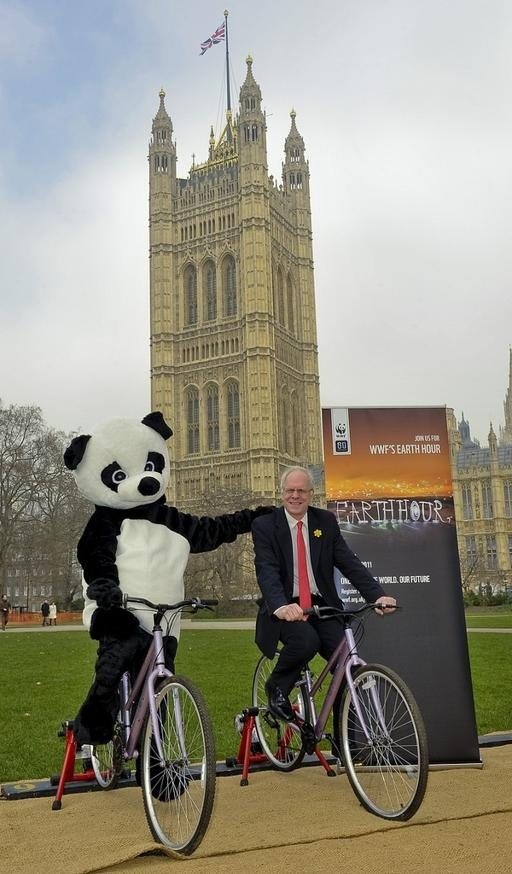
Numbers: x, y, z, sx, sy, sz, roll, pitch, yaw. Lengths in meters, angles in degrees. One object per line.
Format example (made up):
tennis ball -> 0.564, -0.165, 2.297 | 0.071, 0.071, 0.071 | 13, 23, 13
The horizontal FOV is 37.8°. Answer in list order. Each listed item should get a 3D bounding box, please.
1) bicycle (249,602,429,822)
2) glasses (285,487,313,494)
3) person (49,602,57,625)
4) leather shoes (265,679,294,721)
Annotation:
bicycle -> 0.329, 1.388, 3.875 | 0.611, 0.956, 1.516 | 3, -11, -30
glasses -> 0.259, 0.311, 4.237 | 0.169, 0.035, 0.061 | 1, -8, -28
person -> -9.038, 7.918, 33.238 | 0.269, 0.825, 0.754 | 1, -8, -25
leather shoes -> 0.101, 1.422, 4.055 | 0.090, 0.111, 0.264 | 37, 1, -37
